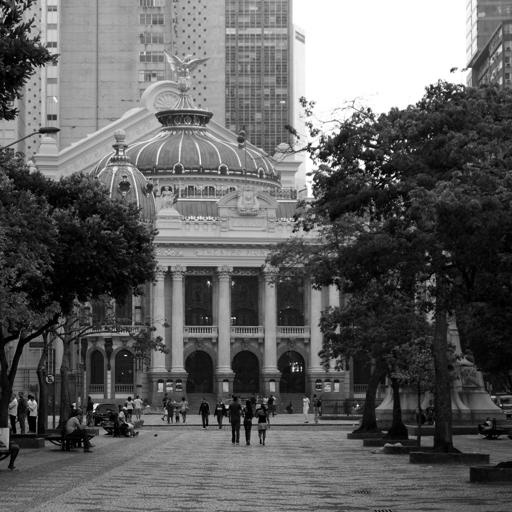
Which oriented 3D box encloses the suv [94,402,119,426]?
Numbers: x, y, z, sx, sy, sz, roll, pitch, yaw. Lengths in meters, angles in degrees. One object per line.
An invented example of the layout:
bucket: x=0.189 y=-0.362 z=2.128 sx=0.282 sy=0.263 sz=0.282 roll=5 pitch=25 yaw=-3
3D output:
suv: x=-7.994 y=8.246 z=73.342 sx=1.087 sy=1.026 sz=2.006 roll=1 pitch=-21 yaw=-12

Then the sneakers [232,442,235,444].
sneakers: x=-0.859 y=7.023 z=52.023 sx=0.155 sy=0.121 sz=0.166 roll=-1 pitch=-4 yaw=6
